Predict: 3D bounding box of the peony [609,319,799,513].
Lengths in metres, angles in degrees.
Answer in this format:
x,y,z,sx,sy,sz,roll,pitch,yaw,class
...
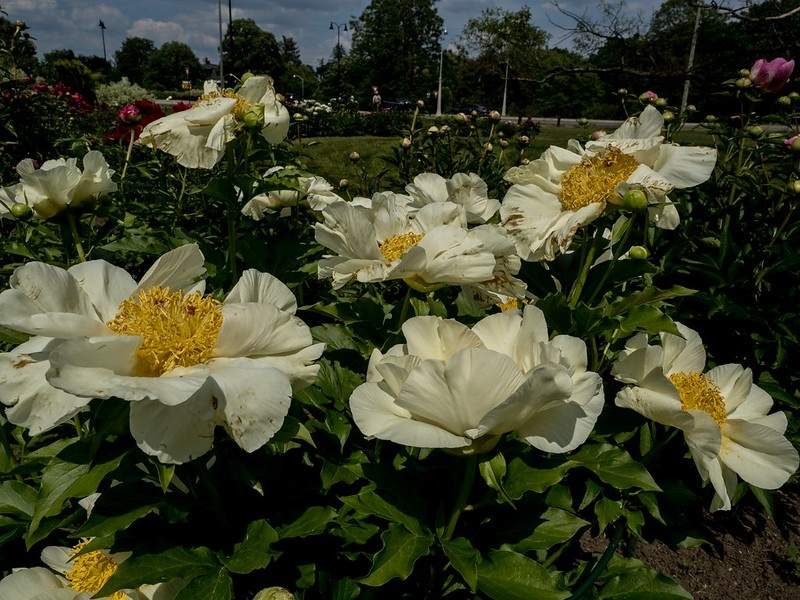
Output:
x,y,z,sx,sy,sz,roll,pitch,yaw,class
0.885,0.469,2.111,0.678,0.287,0.665,23,27,-23,peony

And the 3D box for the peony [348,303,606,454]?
x,y,z,sx,sy,sz,roll,pitch,yaw,class
0.198,0.225,1.476,0.503,0.245,0.464,-15,20,-29,peony

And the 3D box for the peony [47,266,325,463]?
x,y,z,sx,sy,sz,roll,pitch,yaw,class
-0.616,0.092,1.502,0.625,0.255,0.595,24,21,28,peony

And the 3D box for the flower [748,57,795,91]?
x,y,z,sx,sy,sz,roll,pitch,yaw,class
1.931,-1.176,3.078,0.199,0.174,0.197,14,19,13,flower
